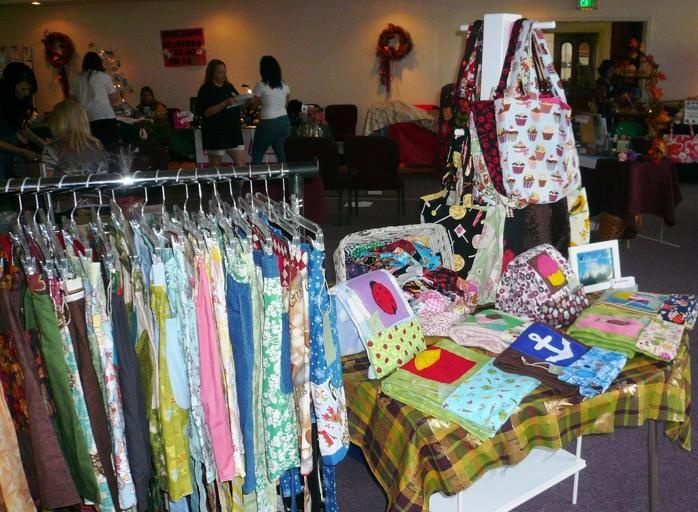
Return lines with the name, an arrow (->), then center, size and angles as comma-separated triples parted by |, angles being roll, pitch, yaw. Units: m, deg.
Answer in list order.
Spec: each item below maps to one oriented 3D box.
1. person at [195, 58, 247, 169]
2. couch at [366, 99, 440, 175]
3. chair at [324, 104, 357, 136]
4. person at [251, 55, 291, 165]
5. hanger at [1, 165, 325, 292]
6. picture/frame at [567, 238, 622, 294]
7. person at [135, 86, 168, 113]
person -> -1.406, -1.557, 6.093 | 0.468, 1.147, 0.691 | -7, 13, -14
couch -> 0.860, -1.969, 9.300 | 1.607, 1.109, 1.730 | 1, 31, 3
chair -> -0.154, -2.423, 9.816 | 0.559, 0.530, 0.557 | -1, 13, 11
person -> -0.883, -1.617, 6.153 | 0.455, 1.106, 0.340 | -5, 12, -8
hanger -> -0.527, -0.186, 1.682 | 0.890, 0.178, 0.173 | -7, 13, -12
picture/frame -> 0.962, 0.044, 2.191 | 0.192, 0.186, 0.015 | -5, 0, -25
person -> -3.162, -2.495, 8.884 | 0.403, 0.475, 1.082 | -8, 14, -19
